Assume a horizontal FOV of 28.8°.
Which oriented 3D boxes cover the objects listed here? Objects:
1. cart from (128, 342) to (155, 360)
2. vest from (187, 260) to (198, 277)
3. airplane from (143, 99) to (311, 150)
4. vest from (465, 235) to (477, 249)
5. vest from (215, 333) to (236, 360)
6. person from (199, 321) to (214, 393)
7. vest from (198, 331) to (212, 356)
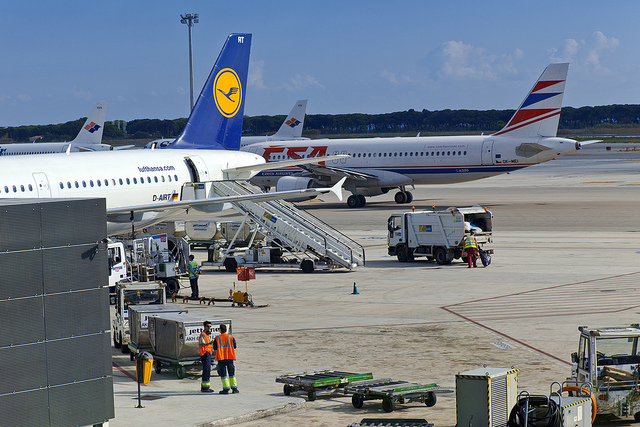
[{"bbox_3d":[-5.920,4.601,41.020,0.630,0.300,0.849,2,-2,-39],"label":"cart"},{"bbox_3d":[-4.953,2.222,48.650,0.284,0.625,0.440,-1,2,10],"label":"vest"},{"bbox_3d":[-3.243,-7.242,109.264,15.059,4.129,12.506,0,4,-1],"label":"airplane"},{"bbox_3d":[6.546,1.292,54.250,0.767,0.602,0.479,2,4,15],"label":"vest"},{"bbox_3d":[-2.910,4.117,38.090,0.568,0.792,0.325,-1,3,-5],"label":"vest"},{"bbox_3d":[-3.498,4.495,38.580,0.441,2.121,0.810,-2,3,-6],"label":"person"},{"bbox_3d":[-3.527,4.090,38.492,0.386,0.718,0.415,-1,3,-6],"label":"vest"}]
